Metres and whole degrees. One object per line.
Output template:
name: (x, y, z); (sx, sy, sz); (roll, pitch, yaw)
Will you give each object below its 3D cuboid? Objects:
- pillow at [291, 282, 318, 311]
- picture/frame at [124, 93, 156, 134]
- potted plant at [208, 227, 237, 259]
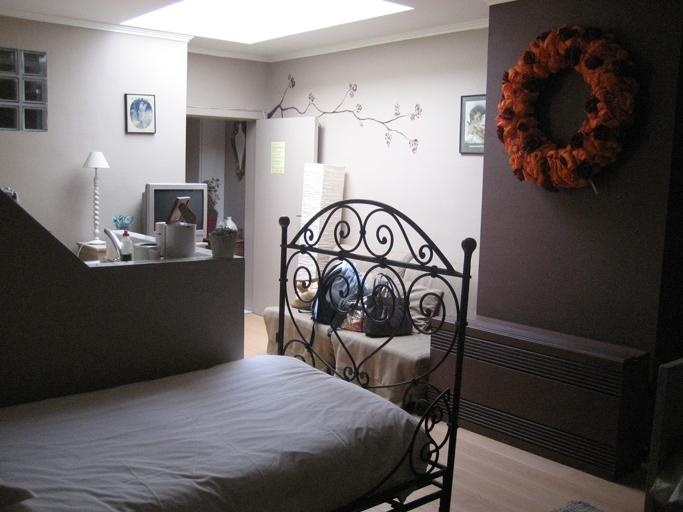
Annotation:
pillow: (-0.357, 0.397, 4.878); (0.197, 0.258, 0.263); (-1, -4, 39)
picture/frame: (-2.148, -1.524, 5.395); (0.408, 0.575, 0.054); (-2, 9, -38)
potted plant: (-0.624, -0.066, 2.690); (0.150, 0.127, 0.141); (0, -2, -28)
